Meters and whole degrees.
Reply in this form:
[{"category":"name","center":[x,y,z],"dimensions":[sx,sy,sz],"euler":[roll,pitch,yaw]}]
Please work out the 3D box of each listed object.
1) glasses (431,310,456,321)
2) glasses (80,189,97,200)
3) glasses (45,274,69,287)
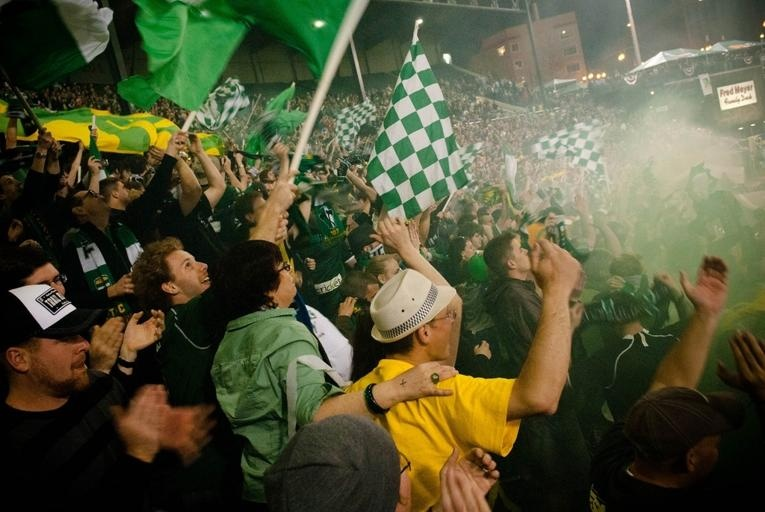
[{"category":"glasses","center":[0.386,0.366,2.904],"dimensions":[0.104,0.034,0.108],"euler":[-9,3,17]},{"category":"glasses","center":[-2.219,-0.466,3.548],"dimensions":[0.068,0.021,0.071],"euler":[9,-49,-38]},{"category":"glasses","center":[-2.200,0.155,3.167],"dimensions":[0.071,0.078,0.136],"euler":[-10,14,9]}]
